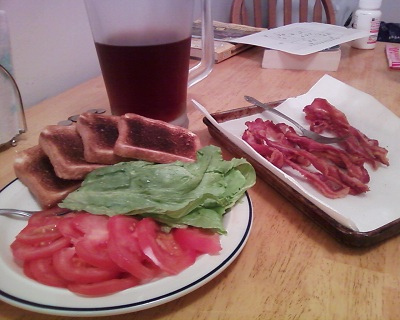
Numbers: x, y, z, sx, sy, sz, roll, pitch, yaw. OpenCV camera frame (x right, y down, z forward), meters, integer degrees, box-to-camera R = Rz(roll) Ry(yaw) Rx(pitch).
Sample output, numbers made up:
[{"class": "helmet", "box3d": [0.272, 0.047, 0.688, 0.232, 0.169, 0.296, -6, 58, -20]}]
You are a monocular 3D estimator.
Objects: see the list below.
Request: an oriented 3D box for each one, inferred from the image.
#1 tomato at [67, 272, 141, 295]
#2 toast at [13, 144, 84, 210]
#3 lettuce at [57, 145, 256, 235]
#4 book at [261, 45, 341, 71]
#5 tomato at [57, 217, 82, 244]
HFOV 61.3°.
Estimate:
[{"class": "tomato", "box3d": [-0.126, 0.158, 0.427, 0.104, 0.054, 0.015, -5, 64, -8]}, {"class": "toast", "box3d": [-0.273, 0.027, 0.587, 0.118, 0.029, 0.118, 40, 34, 20]}, {"class": "lettuce", "box3d": [-0.042, 0.042, 0.618, 0.342, 0.099, 0.208, 7, 25, 26]}, {"class": "book", "box3d": [0.360, -0.358, 1.199, 0.260, 0.069, 0.049, 4, 43, 8]}, {"class": "tomato", "box3d": [-0.182, 0.095, 0.471, 0.039, 0.020, 0.057, -6, 17, -26]}]
